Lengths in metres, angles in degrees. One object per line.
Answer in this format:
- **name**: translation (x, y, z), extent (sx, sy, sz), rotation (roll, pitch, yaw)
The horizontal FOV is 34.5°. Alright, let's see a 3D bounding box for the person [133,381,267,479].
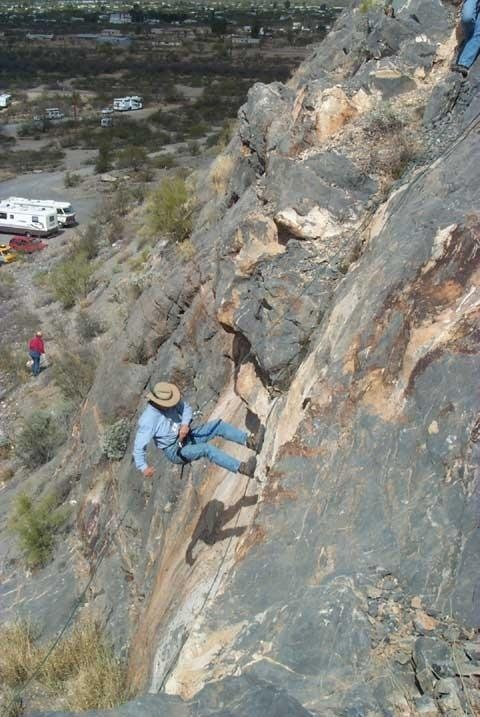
- **person**: translation (-0.423, 0.880, 8.050), extent (1.122, 0.898, 0.980), rotation (8, 50, 13)

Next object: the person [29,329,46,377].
- **person**: translation (-4.429, -0.191, 16.845), extent (0.263, 1.165, 1.185), rotation (0, 21, -16)

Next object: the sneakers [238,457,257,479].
- **sneakers**: translation (0.085, 1.158, 8.076), extent (0.131, 0.339, 0.105), rotation (20, 49, 17)

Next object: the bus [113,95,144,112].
- **bus**: translation (-7.502, -17.174, 52.237), extent (2.145, 1.013, 1.398), rotation (-3, 23, -27)

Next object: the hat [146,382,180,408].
- **hat**: translation (-0.783, 0.392, 8.016), extent (0.307, 0.309, 0.376), rotation (7, 20, 0)
